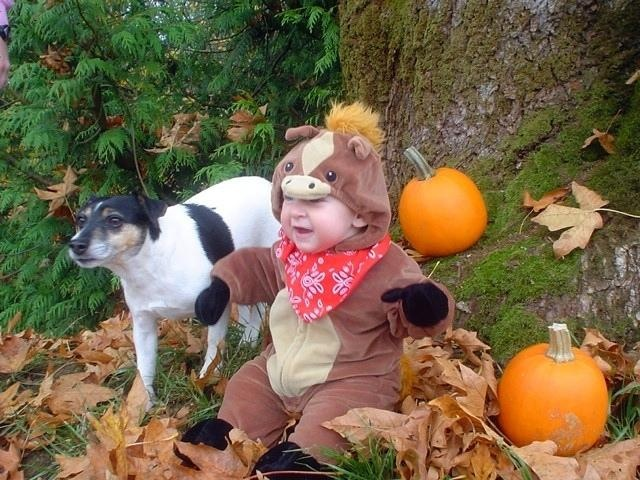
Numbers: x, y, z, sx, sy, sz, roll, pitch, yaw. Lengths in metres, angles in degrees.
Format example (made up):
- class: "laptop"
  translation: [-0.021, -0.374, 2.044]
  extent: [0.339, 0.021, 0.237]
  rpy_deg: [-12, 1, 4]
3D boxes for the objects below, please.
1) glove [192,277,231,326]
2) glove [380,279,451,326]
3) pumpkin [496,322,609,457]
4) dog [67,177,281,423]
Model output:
- class: "glove"
  translation: [-0.611, 0.367, 3.174]
  extent: [0.200, 0.276, 0.096]
  rpy_deg: [25, 23, 19]
- class: "glove"
  translation: [0.477, 0.321, 2.719]
  extent: [0.248, 0.207, 0.135]
  rpy_deg: [4, 5, 24]
- class: "pumpkin"
  translation: [1.190, 0.770, 2.749]
  extent: [0.674, 0.389, 0.514]
  rpy_deg: [5, 20, 10]
- class: "dog"
  translation: [-0.896, 0.458, 3.711]
  extent: [0.992, 1.613, 1.209]
  rpy_deg: [2, 18, 2]
